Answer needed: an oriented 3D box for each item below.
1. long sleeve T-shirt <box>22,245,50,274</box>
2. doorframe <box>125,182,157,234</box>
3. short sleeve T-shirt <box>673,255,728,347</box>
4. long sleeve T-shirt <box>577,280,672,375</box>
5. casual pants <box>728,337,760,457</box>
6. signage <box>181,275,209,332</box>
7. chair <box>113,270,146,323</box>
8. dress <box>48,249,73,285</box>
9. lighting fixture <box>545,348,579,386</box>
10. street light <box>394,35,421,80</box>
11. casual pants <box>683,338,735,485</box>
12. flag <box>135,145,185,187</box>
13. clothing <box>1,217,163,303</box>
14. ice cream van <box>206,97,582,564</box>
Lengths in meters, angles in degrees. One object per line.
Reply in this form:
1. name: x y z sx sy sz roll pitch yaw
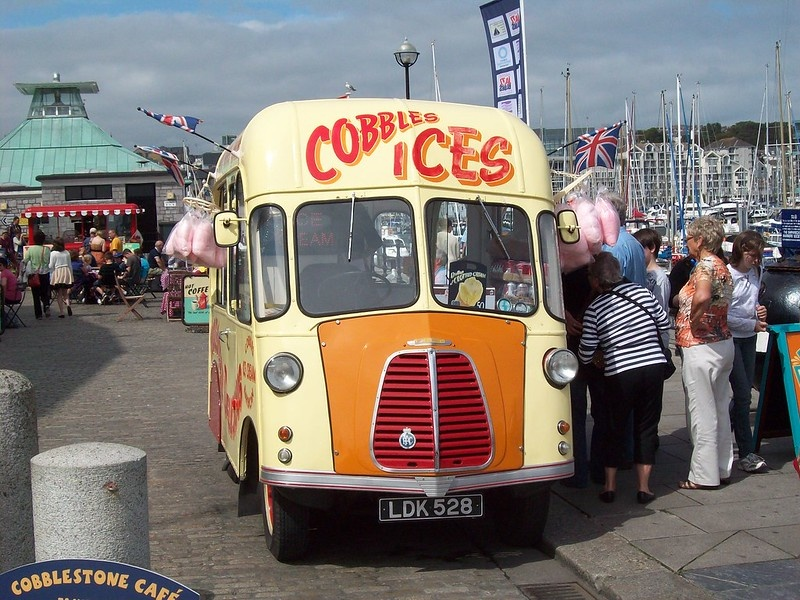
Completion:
1. long sleeve T-shirt: -9.265 -1.047 22.992 0.768 0.811 0.416 -1 6 -35
2. doorframe: -12.255 -3.898 42.609 1.501 3.742 0.400 -2 -12 -19
3. short sleeve T-shirt: 2.759 -0.048 8.155 0.424 0.797 0.664 10 24 32
4. long sleeve T-shirt: 1.990 0.226 7.936 0.815 0.824 0.449 -13 5 -3
5. casual pants: 3.322 0.870 8.697 0.285 1.186 0.261 3 -11 -16
6. signage: -4.451 0.007 19.598 0.534 1.075 0.899 -3 6 -15
7. chair: -7.006 0.002 23.457 0.785 1.036 0.831 2 3 44
8. dress: -8.883 -0.866 23.477 0.753 1.100 0.551 -4 6 -30
9. lighting fixture: 1.222 0.510 6.874 0.259 0.282 0.243 -14 -2 -38
10. street light: 0.136 -4.672 17.052 0.380 0.519 0.828 -2 7 -2
11. casual pants: 2.795 1.007 8.096 0.464 1.315 0.362 -1 6 2
12. flag: -2.779 -1.665 10.399 0.508 0.299 1.077 3 15 -19
13. clothing: -11.951 -0.818 33.205 5.474 4.181 3.638 -1 2 -9
14. ice cream van: -0.382 0.293 9.098 2.406 3.775 5.555 0 -1 -14
